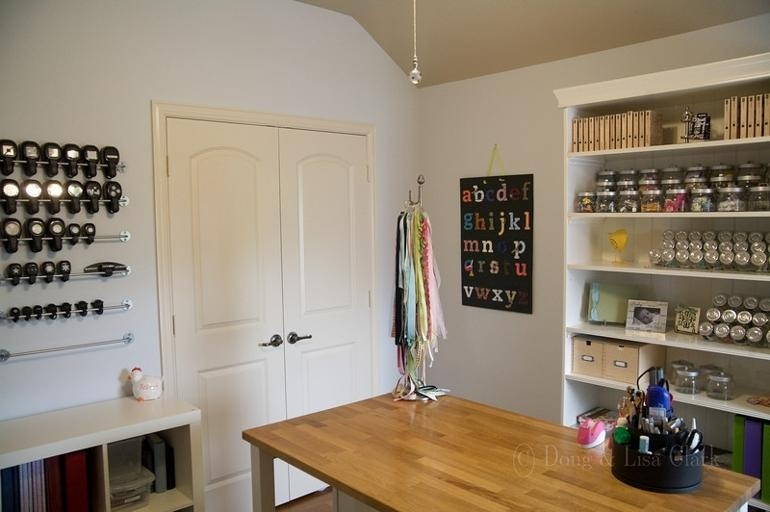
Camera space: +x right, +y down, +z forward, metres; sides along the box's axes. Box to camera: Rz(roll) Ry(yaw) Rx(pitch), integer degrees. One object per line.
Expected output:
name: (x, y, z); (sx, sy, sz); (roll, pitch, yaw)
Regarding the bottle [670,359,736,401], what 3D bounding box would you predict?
bottle: (2.058, 0.796, 3.347); (0.182, 0.142, 0.302); (-2, 3, -39)
